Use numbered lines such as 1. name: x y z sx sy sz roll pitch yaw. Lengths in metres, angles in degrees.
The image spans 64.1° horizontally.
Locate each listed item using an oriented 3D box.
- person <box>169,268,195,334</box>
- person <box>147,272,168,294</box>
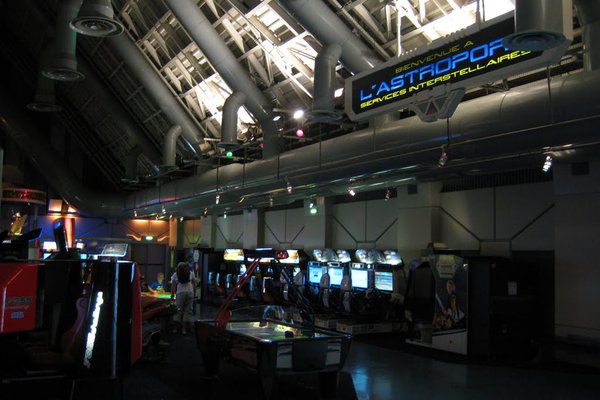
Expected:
1. person: -2.728 2.277 11.308 0.555 1.559 2.387 2 -2 -14
2. person: -5.938 3.503 19.956 0.871 0.987 0.675 10 -3 -44
